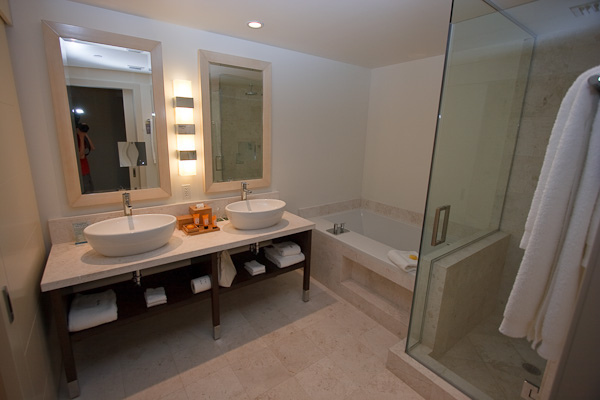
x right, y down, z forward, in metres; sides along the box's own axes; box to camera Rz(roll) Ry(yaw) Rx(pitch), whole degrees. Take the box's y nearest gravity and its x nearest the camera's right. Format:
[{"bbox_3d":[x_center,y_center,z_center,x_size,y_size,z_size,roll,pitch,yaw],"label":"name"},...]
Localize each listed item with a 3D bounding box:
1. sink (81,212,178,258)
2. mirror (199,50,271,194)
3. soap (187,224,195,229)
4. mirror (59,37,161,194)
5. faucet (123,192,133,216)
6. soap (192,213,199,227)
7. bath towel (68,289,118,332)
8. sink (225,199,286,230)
[{"bbox_3d":[-1.378,0.297,3.299,0.667,0.256,0.524,-8,12,-23],"label":"sink"},{"bbox_3d":[-0.601,-0.696,3.981,0.764,1.363,0.080,-8,12,-36],"label":"mirror"},{"bbox_3d":[-0.994,0.247,3.617,0.037,0.009,0.036,18,27,30],"label":"soap"},{"bbox_3d":[-1.573,-0.632,3.378,0.916,1.726,0.092,-3,-13,-22],"label":"mirror"},{"bbox_3d":[-1.487,0.038,3.442,0.061,0.205,0.193,-8,13,-20],"label":"faucet"},{"bbox_3d":[-0.952,0.183,3.662,0.053,0.110,0.086,-6,13,-14],"label":"soap"},{"bbox_3d":[-1.628,0.875,3.127,0.325,0.106,0.314,1,21,-29],"label":"bath towel"},{"bbox_3d":[-0.408,0.150,3.803,0.580,0.208,0.390,-4,14,-9],"label":"sink"}]
